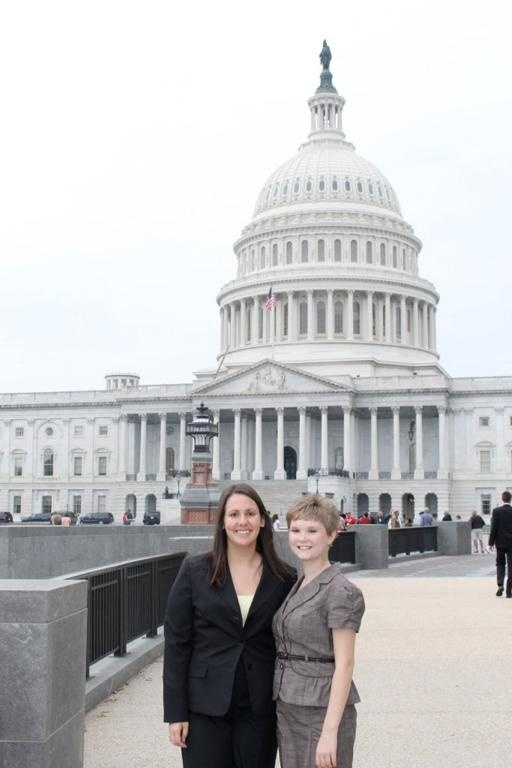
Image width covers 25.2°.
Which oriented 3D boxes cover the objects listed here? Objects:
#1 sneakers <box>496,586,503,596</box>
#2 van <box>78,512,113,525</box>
[{"bbox_3d":[4.104,3.500,19.322,0.170,0.163,0.105,-2,-4,24],"label":"sneakers"},{"bbox_3d":[-10.224,8.591,73.201,2.044,0.799,7.895,1,-8,-8],"label":"van"}]
